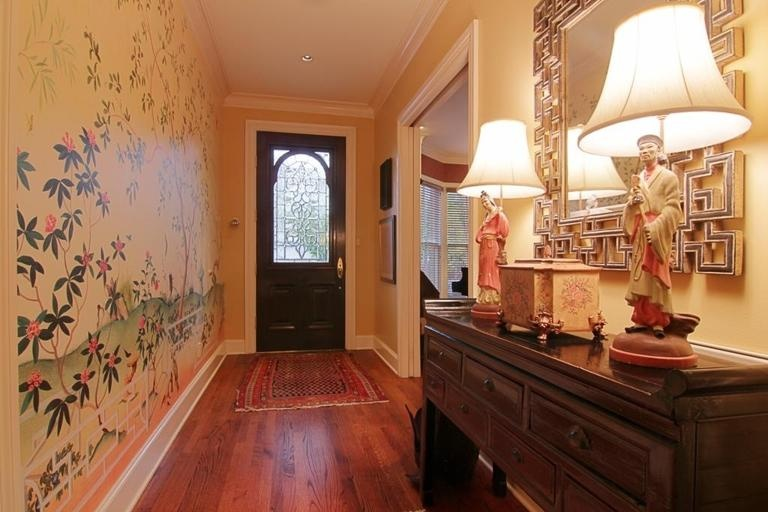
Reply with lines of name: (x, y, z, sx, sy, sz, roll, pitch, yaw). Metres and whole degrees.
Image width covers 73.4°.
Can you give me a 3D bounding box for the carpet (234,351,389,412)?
carpet: (-0.698, 1.123, 4.722, 1.206, 0.112, 1.634, -1, 6, -12)
